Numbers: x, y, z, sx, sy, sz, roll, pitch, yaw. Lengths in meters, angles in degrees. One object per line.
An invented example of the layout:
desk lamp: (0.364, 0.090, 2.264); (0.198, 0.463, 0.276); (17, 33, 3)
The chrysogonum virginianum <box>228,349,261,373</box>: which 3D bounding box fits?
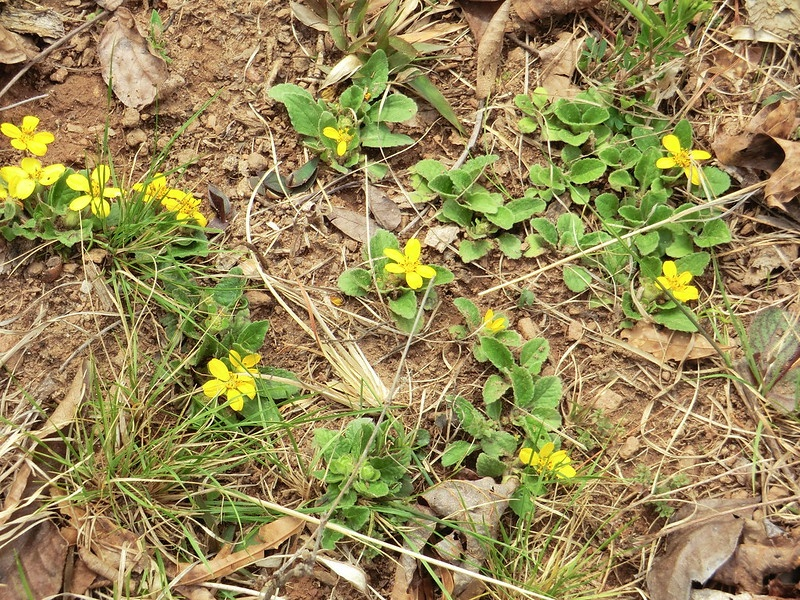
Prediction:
chrysogonum virginianum: (-0.653, 0.263, 2.697); (0.114, 0.052, 0.097); (-27, 94, -33)
